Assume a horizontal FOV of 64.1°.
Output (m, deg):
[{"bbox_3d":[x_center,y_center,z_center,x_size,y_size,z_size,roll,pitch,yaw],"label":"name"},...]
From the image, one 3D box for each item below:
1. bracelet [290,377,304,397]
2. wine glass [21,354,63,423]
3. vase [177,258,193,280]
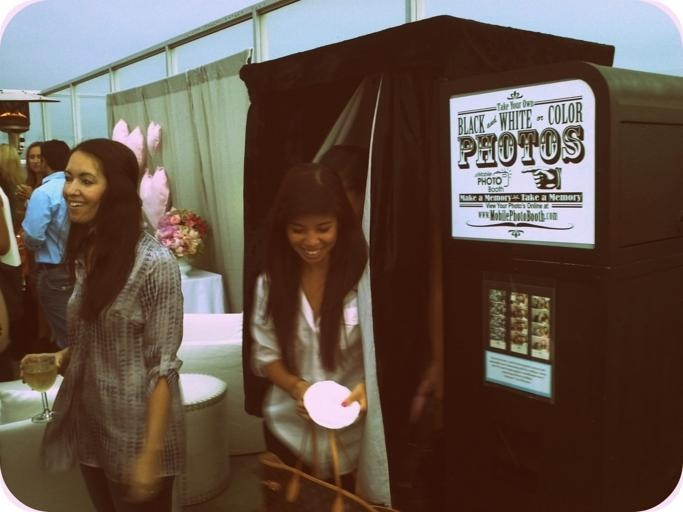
[{"bbox_3d":[-0.147,0.455,1.898,0.034,0.058,0.055,3,11,-19],"label":"bracelet"},{"bbox_3d":[-1.115,0.489,2.010,0.114,0.303,0.248,-2,7,-32],"label":"wine glass"},{"bbox_3d":[-0.813,0.062,2.844,0.099,0.110,0.106,4,7,16],"label":"vase"}]
